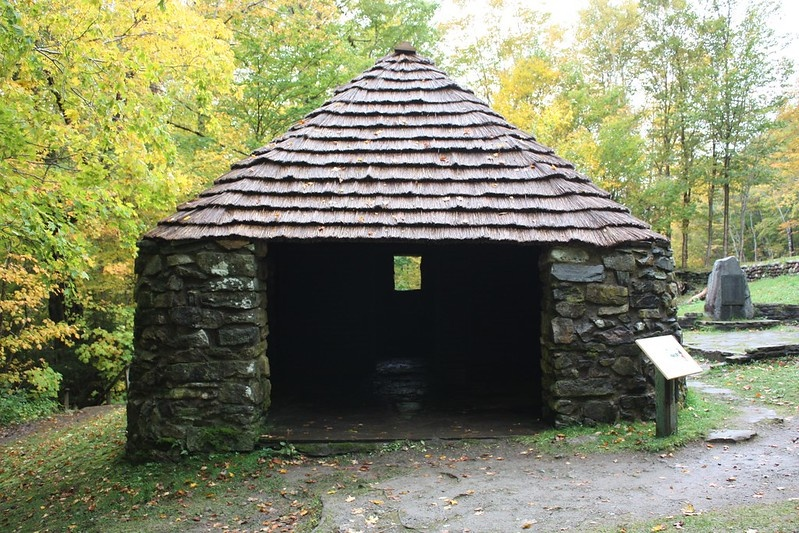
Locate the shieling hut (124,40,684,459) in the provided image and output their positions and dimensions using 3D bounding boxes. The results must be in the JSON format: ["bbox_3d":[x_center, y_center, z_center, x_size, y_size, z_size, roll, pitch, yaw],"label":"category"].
[{"bbox_3d":[0.404,-1.797,15.353,11.481,6.878,8.691,-2,11,1],"label":"shieling hut"}]
